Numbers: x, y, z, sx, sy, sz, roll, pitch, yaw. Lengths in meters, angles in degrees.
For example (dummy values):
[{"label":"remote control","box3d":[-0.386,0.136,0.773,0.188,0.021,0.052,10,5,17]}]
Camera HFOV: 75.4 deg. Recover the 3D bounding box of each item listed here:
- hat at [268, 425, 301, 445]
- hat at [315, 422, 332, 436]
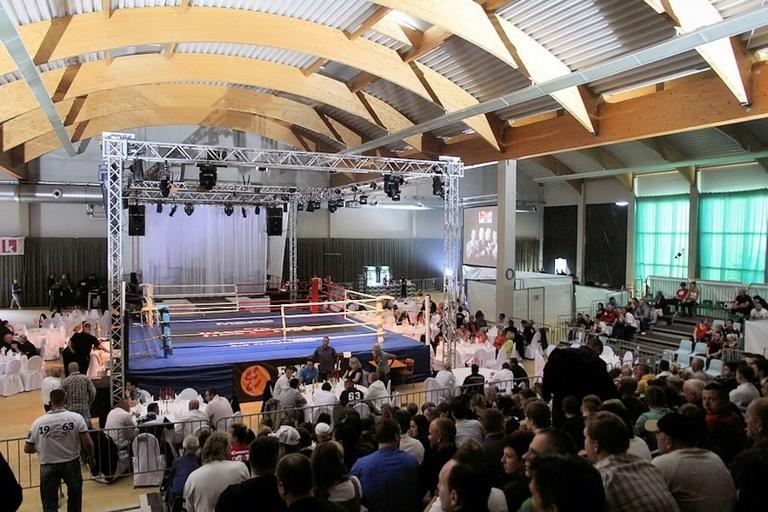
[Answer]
[{"label":"hat","box3d":[-1.299,2.338,6.503,0.251,0.217,0.475,1,-2,-18]},{"label":"hat","box3d":[-0.866,2.446,6.978,0.214,0.161,0.286,0,-2,-3]}]
